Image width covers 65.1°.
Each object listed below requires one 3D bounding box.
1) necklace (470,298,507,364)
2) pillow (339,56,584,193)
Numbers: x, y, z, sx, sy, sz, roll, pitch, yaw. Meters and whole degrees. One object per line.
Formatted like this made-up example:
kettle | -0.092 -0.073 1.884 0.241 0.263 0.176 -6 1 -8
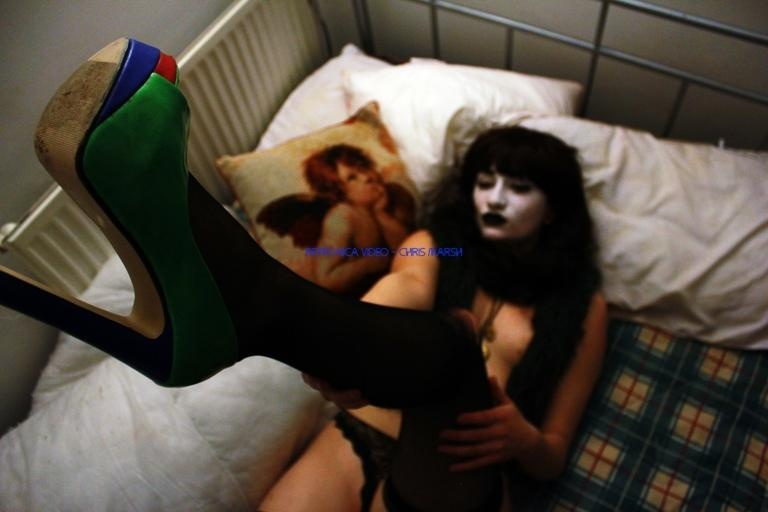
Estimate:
necklace | 0.179 0.123 1.050 0.025 0.126 0.031 18 -15 -25
pillow | 0.167 -0.269 1.265 0.322 0.103 0.306 -2 74 6
